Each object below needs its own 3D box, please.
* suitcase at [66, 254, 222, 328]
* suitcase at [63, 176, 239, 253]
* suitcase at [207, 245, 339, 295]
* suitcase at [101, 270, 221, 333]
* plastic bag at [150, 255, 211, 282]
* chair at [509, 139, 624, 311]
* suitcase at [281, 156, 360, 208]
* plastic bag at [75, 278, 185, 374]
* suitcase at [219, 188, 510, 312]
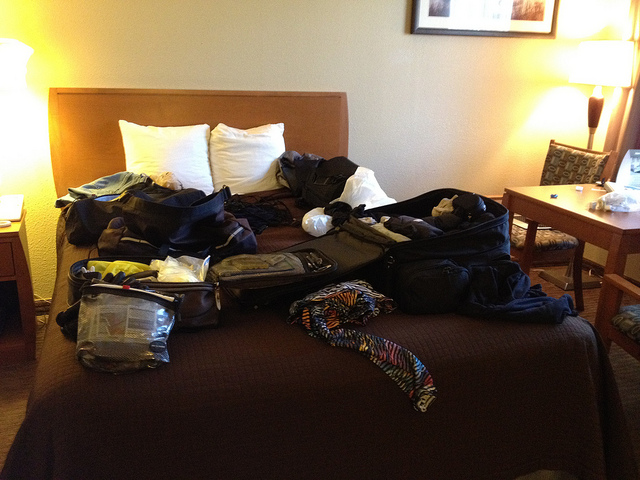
[{"bbox_3d":[-0.701,0.167,1.933,0.490,0.175,0.355,-2,20,-31],"label":"suitcase"},{"bbox_3d":[-0.844,-0.061,2.380,0.658,0.216,0.463,-2,27,-14],"label":"suitcase"},{"bbox_3d":[-0.194,0.115,2.094,0.457,0.090,0.263,-9,27,-24],"label":"suitcase"},{"bbox_3d":[-0.585,0.236,1.867,0.337,0.145,0.258,-1,16,-14],"label":"suitcase"},{"bbox_3d":[-0.586,0.126,2.047,0.156,0.057,0.139,1,18,-18],"label":"plastic bag"},{"bbox_3d":[1.818,-0.137,3.712,0.624,0.997,0.708,22,38,28],"label":"chair"},{"bbox_3d":[-0.010,-0.427,3.305,0.366,0.170,0.470,-5,28,-14],"label":"suitcase"},{"bbox_3d":[-0.683,0.311,1.729,0.354,0.257,0.206,-3,20,-9],"label":"plastic bag"},{"bbox_3d":[0.323,0.008,2.291,1.192,0.287,0.645,-19,16,-4],"label":"suitcase"}]
